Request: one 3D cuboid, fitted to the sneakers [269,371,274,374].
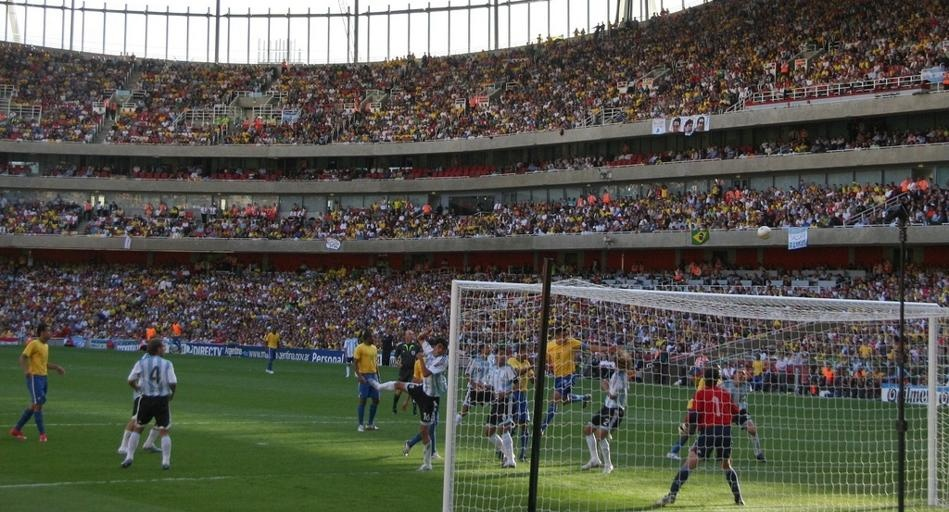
[{"bbox_3d":[-14.726,8.479,110.648,0.139,0.182,0.399,8,-8,-38],"label":"sneakers"}]

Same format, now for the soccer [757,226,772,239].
[{"bbox_3d":[20.871,-1.730,110.288,0.879,0.883,0.861,41,-37,-22],"label":"soccer"}]

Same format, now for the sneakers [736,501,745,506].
[{"bbox_3d":[15.574,14.526,89.969,0.212,0.175,0.332,8,-14,-39],"label":"sneakers"}]

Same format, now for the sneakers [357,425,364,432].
[{"bbox_3d":[-7.111,10.820,95.782,0.200,0.259,0.579,3,-15,-16],"label":"sneakers"}]
